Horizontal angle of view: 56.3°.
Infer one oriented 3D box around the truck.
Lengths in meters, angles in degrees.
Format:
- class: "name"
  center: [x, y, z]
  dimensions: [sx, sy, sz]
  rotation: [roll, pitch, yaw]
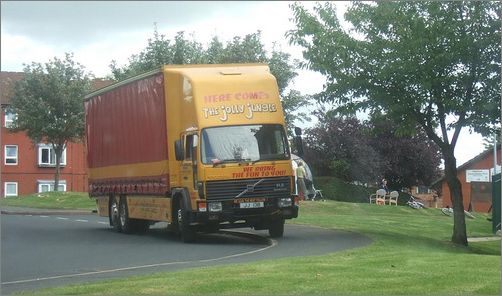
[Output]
- class: "truck"
  center: [-2.491, 0.376, 18.436]
  dimensions: [3.790, 4.293, 8.532]
  rotation: [-1, -2, -31]
